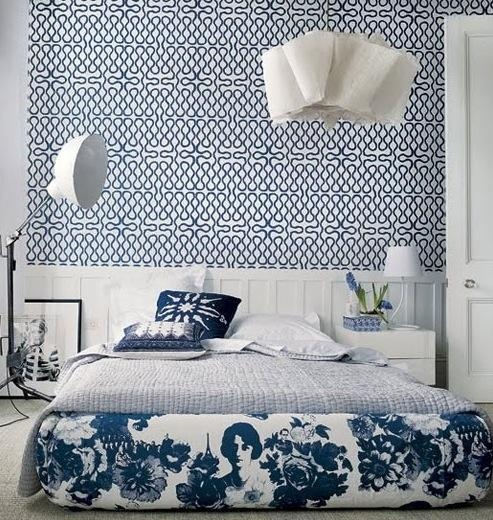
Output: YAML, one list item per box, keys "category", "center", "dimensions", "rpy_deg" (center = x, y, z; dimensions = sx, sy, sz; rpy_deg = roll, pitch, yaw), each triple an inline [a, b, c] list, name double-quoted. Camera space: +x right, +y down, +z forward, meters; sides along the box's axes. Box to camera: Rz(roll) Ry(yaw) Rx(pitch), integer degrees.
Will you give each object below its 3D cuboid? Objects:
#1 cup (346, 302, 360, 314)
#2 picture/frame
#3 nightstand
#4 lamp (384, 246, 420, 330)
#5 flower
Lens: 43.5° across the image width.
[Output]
- category: "cup"
  center: [0.656, 0.290, 3.802]
  dimensions: [0.064, 0.073, 0.064]
  rpy_deg: [0, 2, 0]
- category: "picture/frame"
  center: [-1.156, 0.522, 3.686]
  dimensions: [0.495, 0.701, 0.021]
  rpy_deg: [1, -6, -2]
- category: "nightstand"
  center: [0.898, 0.514, 3.610]
  dimensions: [0.344, 0.267, 0.394]
  rpy_deg: [0, -1, -2]
- category: "lamp"
  center: [0.976, 0.161, 3.898]
  dimensions: [0.212, 0.476, 0.385]
  rpy_deg: [0, -4, 14]
- category: "flower"
  center: [0.792, 0.211, 3.922]
  dimensions: [0.311, 0.371, 0.273]
  rpy_deg: [-5, 7, -38]
